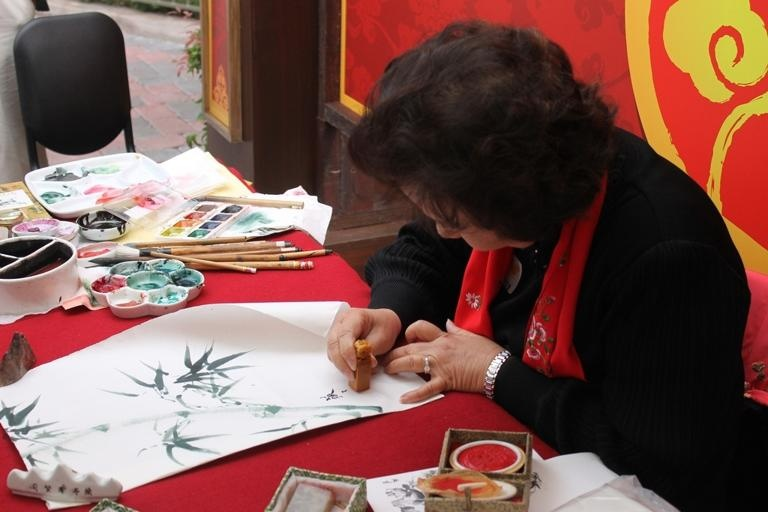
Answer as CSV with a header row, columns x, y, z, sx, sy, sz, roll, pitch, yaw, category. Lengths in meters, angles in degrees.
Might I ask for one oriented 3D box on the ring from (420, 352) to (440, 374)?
x,y,z,sx,sy,sz,roll,pitch,yaw,category
0.103,0.244,1.382,0.034,0.046,0.037,3,64,-7,ring
